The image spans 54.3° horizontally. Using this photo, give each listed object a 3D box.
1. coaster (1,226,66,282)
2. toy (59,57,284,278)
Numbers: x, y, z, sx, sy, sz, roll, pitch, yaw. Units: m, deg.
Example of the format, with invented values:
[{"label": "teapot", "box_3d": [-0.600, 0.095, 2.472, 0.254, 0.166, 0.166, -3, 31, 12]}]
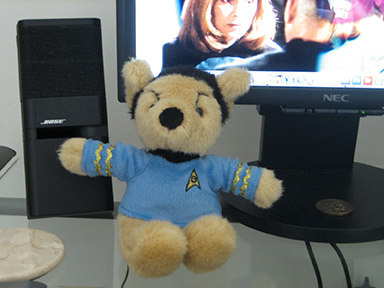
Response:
[{"label": "coaster", "box_3d": [-0.274, 0.175, 0.640, 0.075, 0.016, 0.078, 2, 21, -5]}, {"label": "toy", "box_3d": [-0.027, 0.042, 0.622, 0.345, 0.357, 0.210, 2, 5, -4]}]
